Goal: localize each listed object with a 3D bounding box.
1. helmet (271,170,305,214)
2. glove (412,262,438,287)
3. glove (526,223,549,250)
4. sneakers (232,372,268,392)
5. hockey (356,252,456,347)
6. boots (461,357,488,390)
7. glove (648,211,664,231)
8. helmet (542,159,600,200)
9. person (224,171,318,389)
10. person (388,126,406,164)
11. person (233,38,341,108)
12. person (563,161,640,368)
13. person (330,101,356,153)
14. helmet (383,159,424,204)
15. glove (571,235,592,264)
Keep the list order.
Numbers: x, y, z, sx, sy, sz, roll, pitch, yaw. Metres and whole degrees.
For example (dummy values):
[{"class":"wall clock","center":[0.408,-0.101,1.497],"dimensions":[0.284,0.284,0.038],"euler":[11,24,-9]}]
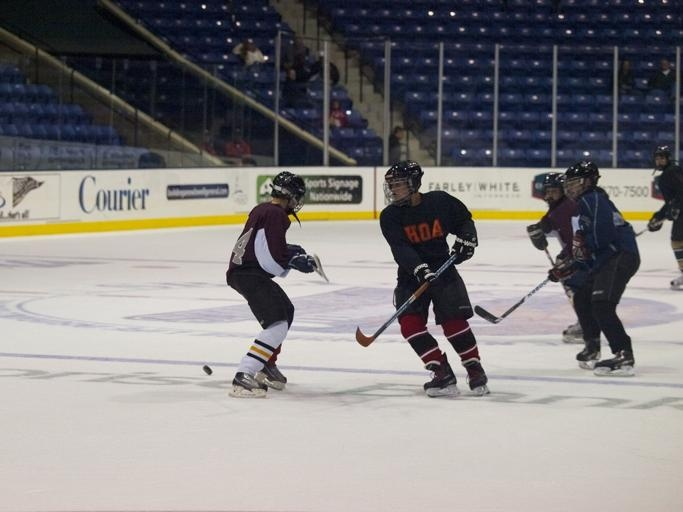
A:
[{"class":"helmet","center":[-0.361,-0.401,6.336],"dimensions":[0.238,0.233,0.280],"euler":[10,5,22]},{"class":"glove","center":[0.498,0.118,6.112],"dimensions":[0.126,0.054,0.150],"euler":[3,15,-18]},{"class":"glove","center":[1.521,-0.147,7.805],"dimensions":[0.149,0.218,0.089],"euler":[-26,-4,-14]},{"class":"sneakers","center":[-0.549,0.760,6.075],"dimensions":[0.202,0.067,0.104],"euler":[10,12,-7]},{"class":"hockey","center":[0.454,0.347,7.163],"dimensions":[1.160,0.216,0.057],"euler":[-35,-10,1]},{"class":"boots","center":[0.821,0.748,6.176],"dimensions":[0.143,0.207,0.106],"euler":[5,5,41]},{"class":"glove","center":[3.226,-0.332,10.320],"dimensions":[0.081,0.132,0.197],"euler":[15,-41,-25]},{"class":"helmet","center":[1.637,-0.533,7.118],"dimensions":[0.403,0.301,0.278],"euler":[5,-5,1]},{"class":"person","center":[-0.431,0.162,6.227],"dimensions":[0.538,1.360,0.473],"euler":[2,4,-7]},{"class":"person","center":[0.951,-1.876,17.265],"dimensions":[0.232,0.669,0.277],"euler":[3,4,12]},{"class":"person","center":[-1.124,-3.202,17.288],"dimensions":[1.241,0.494,1.483],"euler":[-8,26,-33]},{"class":"person","center":[1.783,0.065,6.863],"dimensions":[0.507,1.405,0.726],"euler":[2,4,-2]},{"class":"person","center":[-0.030,-2.217,17.237],"dimensions":[0.456,0.860,0.178],"euler":[1,4,-23]},{"class":"helmet","center":[0.380,-0.447,6.265],"dimensions":[0.230,0.271,0.209],"euler":[2,4,2]},{"class":"glove","center":[1.669,-0.038,7.016],"dimensions":[0.135,0.173,0.075],"euler":[-13,12,0]}]
